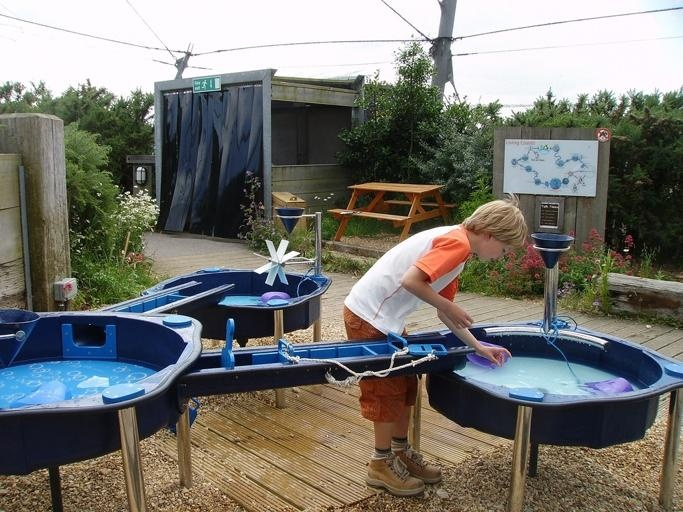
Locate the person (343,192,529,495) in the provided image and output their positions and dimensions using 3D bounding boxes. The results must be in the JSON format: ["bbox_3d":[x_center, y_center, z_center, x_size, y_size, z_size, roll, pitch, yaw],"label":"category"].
[{"bbox_3d":[0.480,0.464,2.986,0.967,1.617,0.730,3,2,4],"label":"person"}]

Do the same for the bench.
[{"bbox_3d":[1.104,-0.681,9.624,1.168,0.613,1.246,14,19,43],"label":"bench"}]

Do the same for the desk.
[{"bbox_3d":[1.122,-0.784,9.915,1.530,0.751,1.368,-14,16,-40],"label":"desk"}]

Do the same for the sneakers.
[{"bbox_3d":[0.334,1.180,3.032,0.246,0.149,0.297,-3,-3,23],"label":"sneakers"}]

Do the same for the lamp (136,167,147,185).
[{"bbox_3d":[-4.290,-1.716,11.929,0.262,0.383,0.082,6,14,21],"label":"lamp"}]
